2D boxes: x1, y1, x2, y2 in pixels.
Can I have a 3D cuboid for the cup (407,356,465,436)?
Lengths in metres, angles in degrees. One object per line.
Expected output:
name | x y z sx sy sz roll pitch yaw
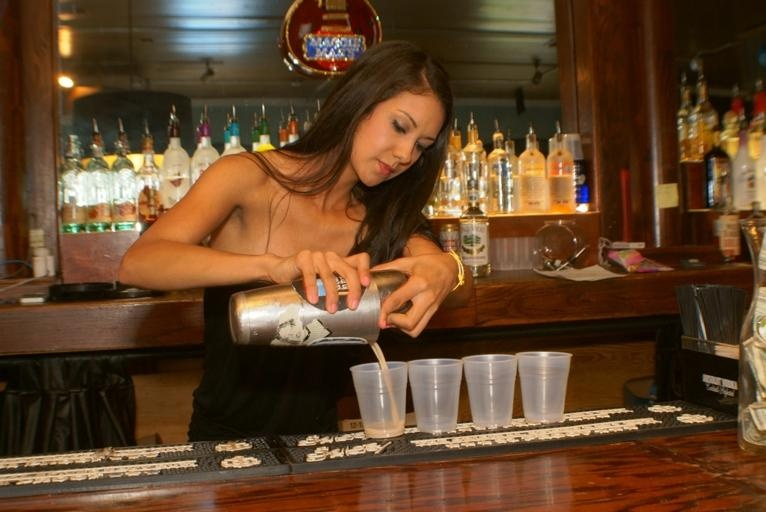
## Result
cup | 0.149 0.348 1.711 0.187 0.191 0.186 -1 4 0

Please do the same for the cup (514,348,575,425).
cup | 0.415 0.341 1.699 0.130 0.188 0.116 -1 0 10

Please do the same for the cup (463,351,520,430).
cup | 0.256 0.339 1.677 0.188 0.189 0.182 -2 -3 0

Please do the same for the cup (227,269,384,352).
cup | -0.186 0.131 1.531 0.331 0.157 0.167 2 -3 -12
